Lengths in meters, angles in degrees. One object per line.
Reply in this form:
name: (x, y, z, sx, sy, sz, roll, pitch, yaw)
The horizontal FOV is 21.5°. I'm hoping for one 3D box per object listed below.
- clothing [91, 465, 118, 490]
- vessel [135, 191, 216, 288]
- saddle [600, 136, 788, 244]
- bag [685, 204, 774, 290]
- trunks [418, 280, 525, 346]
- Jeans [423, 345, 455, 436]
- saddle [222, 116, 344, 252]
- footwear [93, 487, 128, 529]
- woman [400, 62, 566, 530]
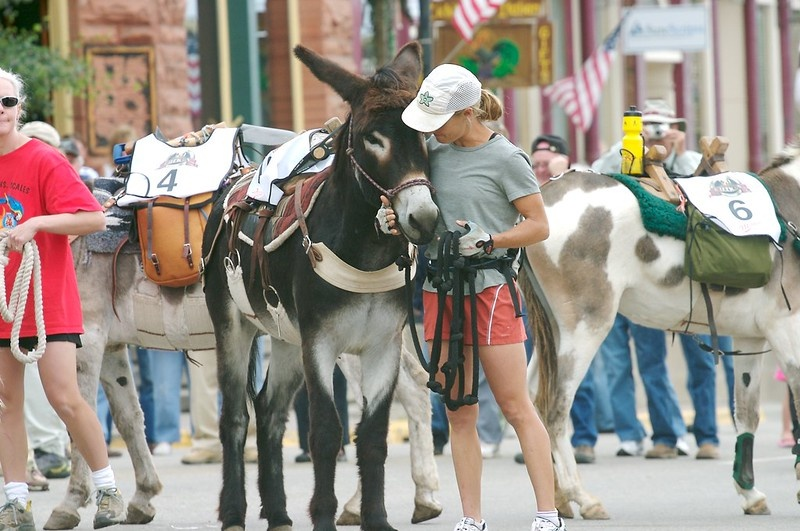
clothing: (-2.839, 2.076, 20.418, 0.351, 0.236, 0.240, 4, -14, -33)
vessel: (-2.211, -0.276, 21.037, 0.979, 0.997, 0.625, -1, -12, 1)
saddle: (2.963, -0.769, 21.330, 1.590, 0.834, 0.402, 12, 23, 33)
bag: (3.231, -0.241, 21.150, 1.095, 0.939, 0.578, 4, -5, -33)
trunks: (0.667, 0.494, 19.615, 1.060, 0.666, 0.575, -1, -8, 12)
Jeans: (0.439, 1.465, 23.729, 0.293, 1.127, 0.319, 1, 19, 30)
saddle: (-1.413, -0.699, 20.874, 0.483, 1.135, 1.521, 24, -40, -4)
footwear: (-2.818, 2.400, 20.625, 0.355, 0.365, 0.912, -1, -10, -7)
woman: (0.795, 0.297, 19.549, 1.201, 4.392, 0.695, -5, 0, 0)
